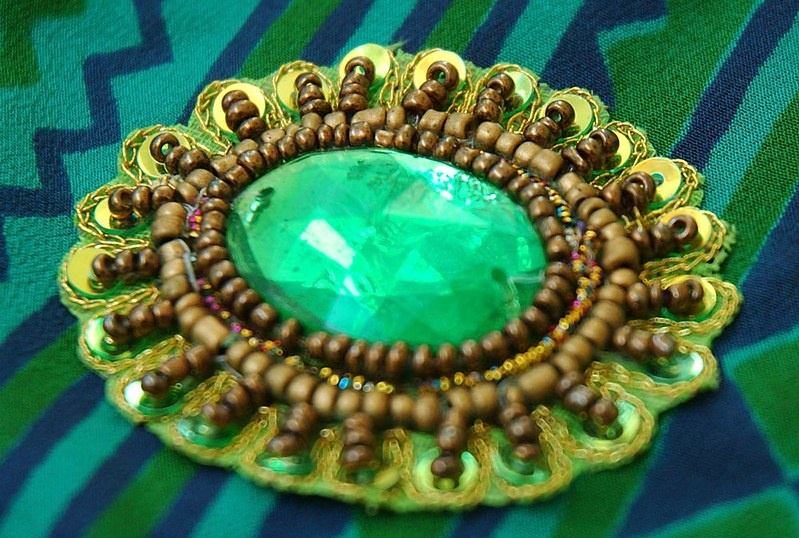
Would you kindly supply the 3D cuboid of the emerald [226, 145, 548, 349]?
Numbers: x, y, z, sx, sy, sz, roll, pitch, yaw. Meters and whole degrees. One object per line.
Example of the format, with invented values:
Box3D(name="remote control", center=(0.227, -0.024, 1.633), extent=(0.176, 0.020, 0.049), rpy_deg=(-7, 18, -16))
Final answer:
Box3D(name="emerald", center=(-0.030, -0.046, 1.371), extent=(0.465, 0.104, 0.342), rpy_deg=(12, 75, 10))
